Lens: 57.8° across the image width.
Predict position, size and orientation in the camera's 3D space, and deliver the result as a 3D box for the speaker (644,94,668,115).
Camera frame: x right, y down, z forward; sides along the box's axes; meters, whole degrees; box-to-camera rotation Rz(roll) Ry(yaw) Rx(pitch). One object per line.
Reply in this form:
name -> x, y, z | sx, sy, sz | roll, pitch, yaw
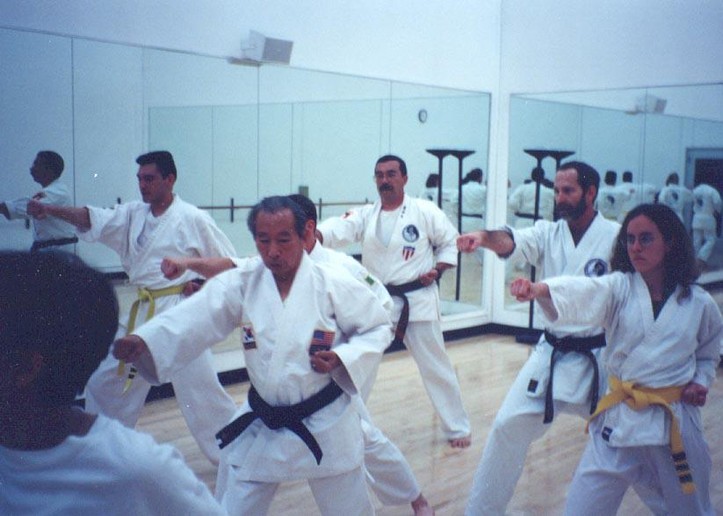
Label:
speaker -> 2.629, -1.357, 5.815 | 0.164, 0.155, 0.141 | 8, 10, 19
